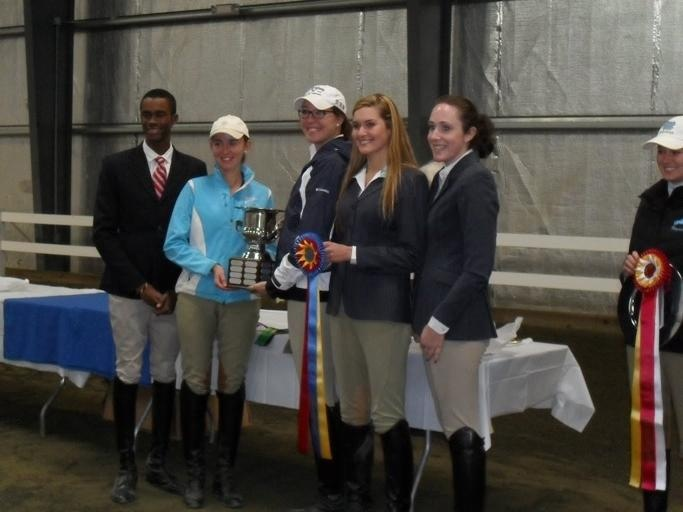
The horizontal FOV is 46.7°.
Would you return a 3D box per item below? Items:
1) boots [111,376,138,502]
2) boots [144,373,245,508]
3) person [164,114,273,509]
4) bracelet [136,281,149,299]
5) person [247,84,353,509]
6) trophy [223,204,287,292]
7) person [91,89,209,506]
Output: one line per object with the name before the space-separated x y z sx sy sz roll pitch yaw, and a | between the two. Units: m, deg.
boots | -1.245 1.063 4.625 0.173 0.666 0.169 -2 10 -38
boots | -0.761 1.070 4.588 0.425 0.692 0.316 0 6 -14
person | -0.729 0.258 4.830 0.640 2.262 0.675 0 2 -8
bracelet | -1.146 0.191 4.574 0.063 0.093 0.074 -3 -10 -40
person | -0.173 0.180 4.449 0.502 2.329 0.574 7 11 -6
trophy | -0.491 -0.070 4.589 0.276 0.493 0.280 9 10 9
person | -1.157 0.210 4.765 0.638 2.226 0.675 0 1 -19
